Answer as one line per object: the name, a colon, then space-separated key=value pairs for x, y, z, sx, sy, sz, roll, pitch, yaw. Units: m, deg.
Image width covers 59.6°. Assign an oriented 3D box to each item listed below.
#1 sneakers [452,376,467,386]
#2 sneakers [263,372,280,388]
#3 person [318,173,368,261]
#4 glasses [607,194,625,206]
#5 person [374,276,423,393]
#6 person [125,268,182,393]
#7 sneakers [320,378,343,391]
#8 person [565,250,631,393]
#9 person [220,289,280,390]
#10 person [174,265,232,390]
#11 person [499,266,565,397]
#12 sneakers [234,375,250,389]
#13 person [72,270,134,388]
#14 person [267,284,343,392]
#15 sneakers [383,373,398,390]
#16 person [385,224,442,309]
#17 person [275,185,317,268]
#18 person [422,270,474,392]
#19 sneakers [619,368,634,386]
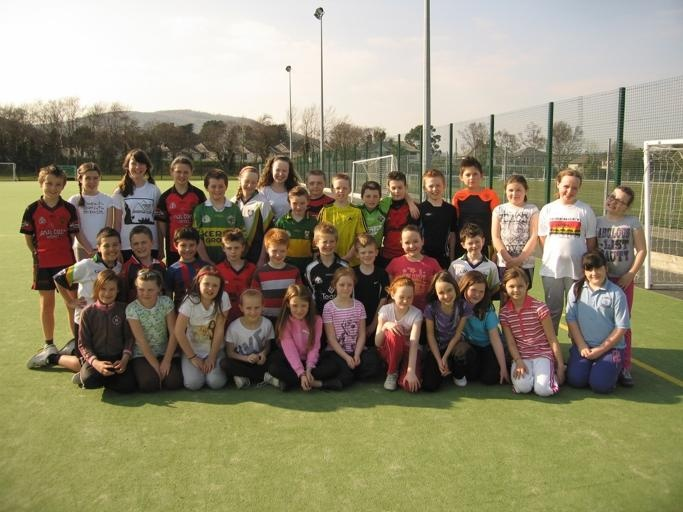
sneakers: x=1.148 y=1.196 z=5.752 sx=0.128 sy=0.094 sz=0.124 roll=3 pitch=13 yaw=10
sneakers: x=-0.664 y=1.171 z=5.652 sx=0.159 sy=0.071 sz=0.059 roll=35 pitch=28 yaw=17
person: x=-0.007 y=-0.311 z=6.832 sx=0.611 sy=1.211 sz=0.464 roll=2 pitch=31 yaw=5
glasses: x=2.775 y=-0.571 z=6.068 sx=0.099 sy=0.032 sz=0.096 roll=27 pitch=0 yaw=-13
person: x=0.554 y=0.712 z=5.808 sx=0.457 sy=1.008 sz=0.710 roll=2 pitch=13 yaw=7
person: x=-1.789 y=0.683 z=5.634 sx=0.455 sy=1.069 sz=0.537 roll=-5 pitch=14 yaw=-21
sneakers: x=-0.092 y=1.210 z=5.612 sx=0.233 sy=0.176 sz=0.084 roll=-4 pitch=-7 yaw=8
person: x=2.405 y=0.615 z=5.688 sx=0.554 sy=1.193 sz=0.561 roll=11 pitch=16 yaw=39
person: x=-0.904 y=0.764 z=5.939 sx=0.691 sy=0.984 sz=0.804 roll=-4 pitch=21 yaw=-23
person: x=-1.316 y=0.683 z=5.637 sx=0.507 sy=1.068 sz=0.389 roll=-2 pitch=13 yaw=-11
person: x=1.795 y=0.697 z=5.638 sx=0.638 sy=1.065 sz=0.561 roll=5 pitch=14 yaw=21
sneakers: x=-0.946 y=1.190 z=5.604 sx=0.080 sy=0.072 sz=0.187 roll=0 pitch=-1 yaw=-2
person: x=-2.194 y=0.701 z=5.526 sx=0.485 sy=1.050 sz=0.520 roll=-5 pitch=14 yaw=-24
person: x=-0.348 y=0.777 z=5.682 sx=0.676 sy=0.900 sz=0.464 roll=0 pitch=13 yaw=-1
sneakers: x=0.462 y=1.191 z=5.665 sx=0.121 sy=0.123 sz=0.120 roll=1 pitch=13 yaw=4
person: x=0.738 y=0.122 z=6.278 sx=0.799 sy=1.139 sz=0.381 roll=-1 pitch=3 yaw=2
person: x=-0.513 y=-0.109 z=6.776 sx=0.557 sy=1.298 sz=0.400 roll=-1 pitch=17 yaw=-3
person: x=1.006 y=0.716 z=5.729 sx=0.440 sy=1.063 sz=0.554 roll=2 pitch=13 yaw=8
sneakers: x=2.713 y=1.165 z=5.677 sx=0.069 sy=0.096 sz=0.215 roll=-3 pitch=-2 yaw=5
